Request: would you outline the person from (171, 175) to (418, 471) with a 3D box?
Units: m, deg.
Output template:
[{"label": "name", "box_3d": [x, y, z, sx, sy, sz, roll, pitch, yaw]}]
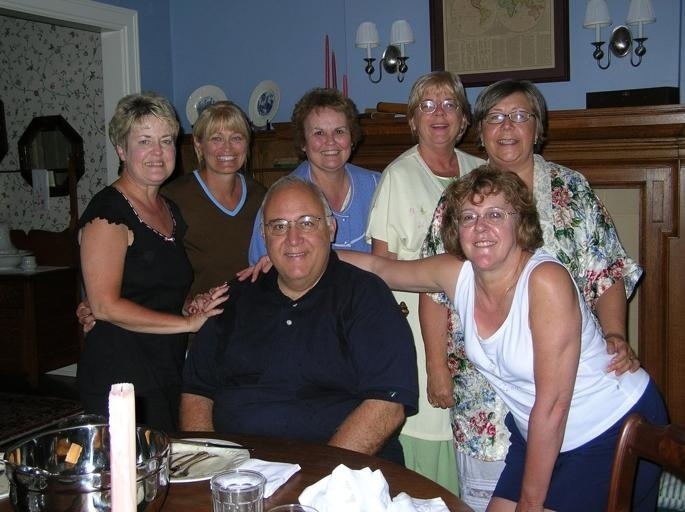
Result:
[{"label": "person", "box_3d": [-0.175, 0.253, 2.367, 0.912, 1.020, 0.637, 4, 8, 24]}]

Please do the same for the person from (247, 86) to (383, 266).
[{"label": "person", "box_3d": [-0.056, -0.389, 3.141, 0.919, 0.958, 0.372, -8, 22, -14]}]

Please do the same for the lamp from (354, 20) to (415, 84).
[{"label": "lamp", "box_3d": [0.330, -1.510, 4.551, 0.441, 0.417, 0.231, 5, 14, 24]}]

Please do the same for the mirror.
[{"label": "mirror", "box_3d": [-2.864, -1.025, 6.062, 0.846, 0.906, 0.068, -4, 0, 28]}]

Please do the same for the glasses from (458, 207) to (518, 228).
[{"label": "glasses", "box_3d": [0.492, -0.134, 2.093, 0.180, 0.064, 0.039, -2, 4, 7]}]

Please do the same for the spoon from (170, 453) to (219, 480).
[{"label": "spoon", "box_3d": [-0.436, 0.582, 1.716, 0.057, 0.026, 0.089, 3, 21, 12]}]

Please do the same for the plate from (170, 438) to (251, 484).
[{"label": "plate", "box_3d": [-0.401, 0.567, 1.725, 0.206, 0.225, 0.024, 13, 36, -33]}]

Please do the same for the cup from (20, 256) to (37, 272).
[{"label": "cup", "box_3d": [-2.619, 0.057, 5.152, 0.144, 0.145, 0.149, 0, -1, 0]}]

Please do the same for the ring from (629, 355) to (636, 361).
[{"label": "ring", "box_3d": [1.037, 0.364, 2.200, 0.019, 0.009, 0.025, 2, 2, 23]}]
